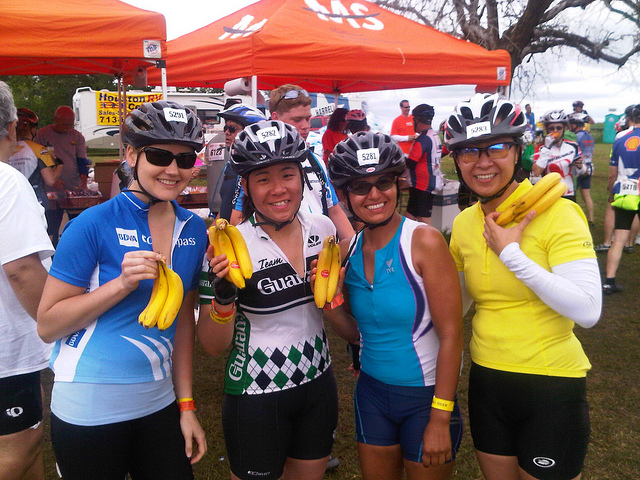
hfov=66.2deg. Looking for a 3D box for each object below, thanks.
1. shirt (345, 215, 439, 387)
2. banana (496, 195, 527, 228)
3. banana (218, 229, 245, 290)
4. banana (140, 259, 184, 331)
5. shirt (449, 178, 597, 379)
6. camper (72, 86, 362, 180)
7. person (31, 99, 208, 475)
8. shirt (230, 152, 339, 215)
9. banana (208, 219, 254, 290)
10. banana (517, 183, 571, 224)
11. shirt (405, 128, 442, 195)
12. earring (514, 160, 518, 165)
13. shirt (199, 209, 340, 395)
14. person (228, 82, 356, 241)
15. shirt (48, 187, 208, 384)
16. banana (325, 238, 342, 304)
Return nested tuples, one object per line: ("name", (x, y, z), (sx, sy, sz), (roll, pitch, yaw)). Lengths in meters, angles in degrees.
("shirt", (0.426, 0.369, 2.930), (0.565, 0.926, 0.338), (1, 16, 18))
("banana", (1.089, -0.155, 2.813), (0.074, 0.091, 0.271), (1, -24, 14))
("banana", (-0.490, 0.119, 2.741), (0.214, 0.309, 0.201), (-1, 13, -11))
("banana", (-0.830, 0.302, 2.622), (0.190, 0.411, 0.153), (-3, -8, 14))
("shirt", (1.208, 0.220, 3.066), (0.574, 1.124, 1.018), (-3, 3, -39))
("camper", (-4.554, -5.041, 22.806), (11.729, 3.427, 2.609), (-4, 6, -18))
("person", (-1.030, 0.312, 2.685), (0.942, 2.024, 0.615), (-8, 16, -14))
("shirt", (-0.208, -0.368, 3.256), (0.605, 0.681, 0.345), (0, 0, -21))
("banana", (-0.506, 0.089, 2.761), (0.224, 0.157, 0.434), (-8, 53, -31))
("banana", (1.265, -0.192, 2.764), (0.052, 0.244, 0.087), (42, -14, 21))
("shirt", (1.905, -1.410, 8.916), (0.590, 1.171, 0.417), (0, 16, 13))
("earring", (1.167, -0.455, 2.906), (0.016, 0.021, 0.007), (1, -2, -25))
("shirt", (-0.297, 0.317, 3.166), (0.802, 1.062, 1.200), (-2, 18, -22))
("person", (-0.323, -0.382, 4.656), (1.060, 2.205, 0.579), (-5, 39, -8))
("shirt", (-1.066, 0.275, 2.878), (0.573, 1.045, 0.959), (15, 4, 41))
("banana", (0.085, 0.185, 2.883), (0.071, 0.361, 0.117), (8, -27, 3))
